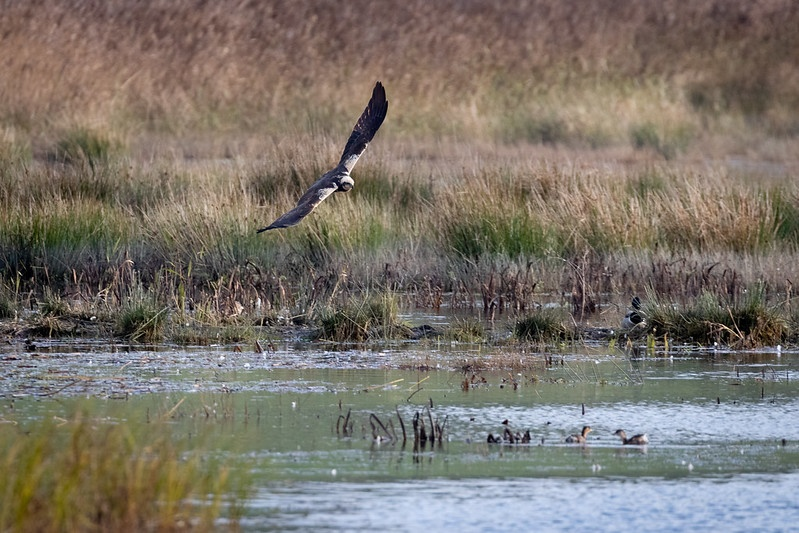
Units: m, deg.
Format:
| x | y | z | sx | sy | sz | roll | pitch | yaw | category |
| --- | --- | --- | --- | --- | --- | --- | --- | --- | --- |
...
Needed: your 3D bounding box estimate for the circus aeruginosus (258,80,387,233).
| x | y | z | sx | sy | sz | roll | pitch | yaw | category |
| --- | --- | --- | --- | --- | --- | --- | --- | --- | --- |
| -0.886 | -1.636 | 23.652 | 1.225 | 2.311 | 2.983 | -1 | -6 | 5 | circus aeruginosus |
